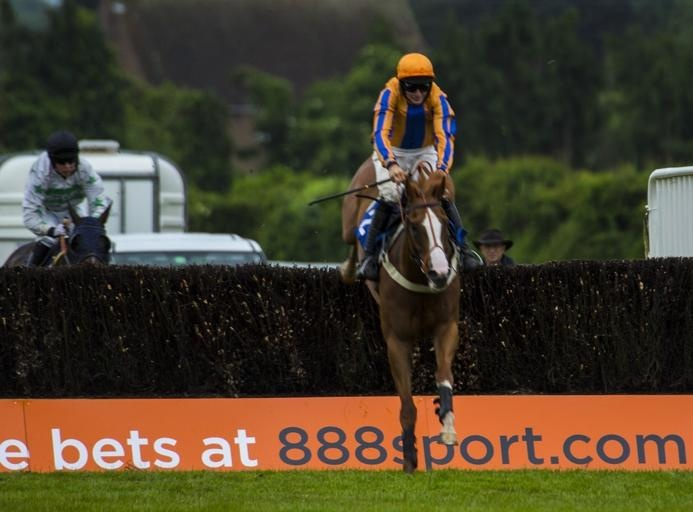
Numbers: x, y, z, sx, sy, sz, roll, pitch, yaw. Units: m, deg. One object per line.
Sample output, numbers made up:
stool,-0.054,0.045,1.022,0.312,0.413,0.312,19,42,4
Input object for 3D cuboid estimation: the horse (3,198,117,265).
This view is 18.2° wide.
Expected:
horse,-5.198,-0.453,39.515,2.229,1.603,0.589,-15,-19,43

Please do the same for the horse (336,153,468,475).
horse,1.205,0.906,37.664,2.071,5.166,3.061,-11,12,-31
